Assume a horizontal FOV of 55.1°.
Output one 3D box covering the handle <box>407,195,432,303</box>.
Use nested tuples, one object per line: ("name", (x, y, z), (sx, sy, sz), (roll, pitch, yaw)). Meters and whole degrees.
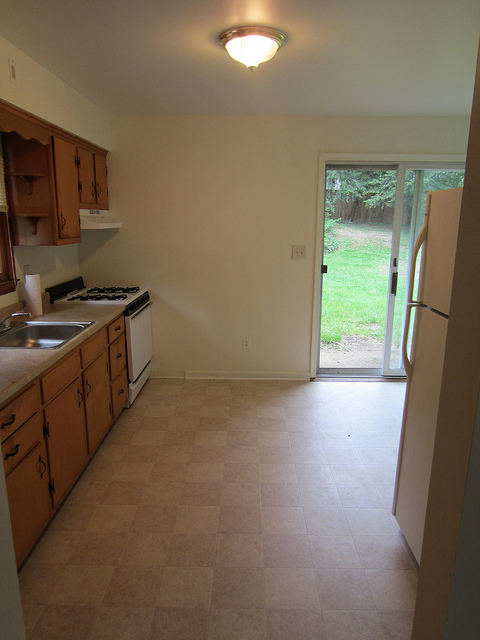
("handle", (0.756, -0.276, 1.938), (0.090, 0.476, 0.077), (-1, 17, -6))

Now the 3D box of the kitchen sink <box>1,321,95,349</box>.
("kitchen sink", (-1.037, 0.079, 2.524), (0.346, 0.166, 0.382), (1, 14, 3))

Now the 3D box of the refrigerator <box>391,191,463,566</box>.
("refrigerator", (0.733, 0.268, 1.938), (0.147, 1.553, 0.457), (4, 14, 10))

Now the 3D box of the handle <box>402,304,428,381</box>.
("handle", (0.755, 0.095, 1.993), (0.084, 0.352, 0.027), (3, 13, 15))

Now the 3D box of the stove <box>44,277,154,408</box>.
("stove", (-1.053, 0.139, 3.805), (0.709, 1.008, 0.781), (1, 14, 3))

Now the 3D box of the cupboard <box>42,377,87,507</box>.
("cupboard", (-0.853, 0.571, 2.239), (0.145, 0.396, 0.295), (0, 14, -15))

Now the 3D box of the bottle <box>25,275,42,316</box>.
("bottle", (-1.286, -0.156, 2.852), (0.092, 0.246, 0.163), (-6, 15, -27))
